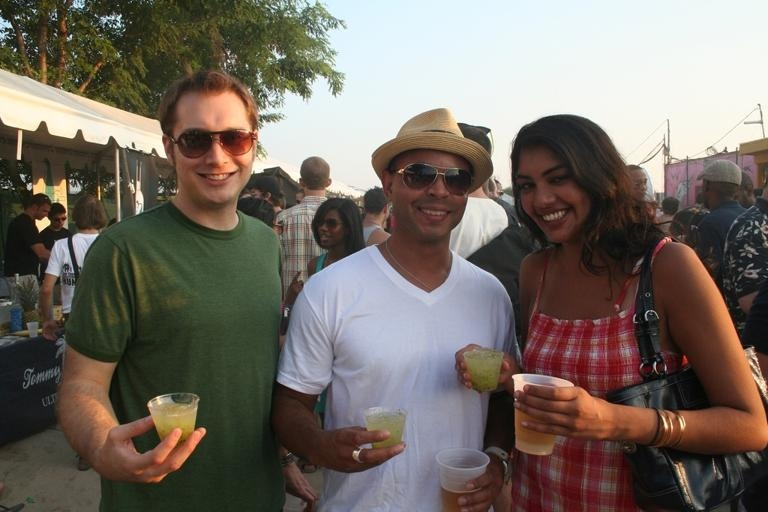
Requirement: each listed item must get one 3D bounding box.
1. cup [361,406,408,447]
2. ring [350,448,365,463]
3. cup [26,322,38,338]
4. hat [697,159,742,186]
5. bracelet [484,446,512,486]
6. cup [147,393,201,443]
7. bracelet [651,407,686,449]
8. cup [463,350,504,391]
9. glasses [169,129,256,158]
[{"bbox_3d":[0.003,0.868,2.657,0.202,0.172,0.282,0,0,-5],"label":"cup"},{"bbox_3d":[-0.133,0.968,2.581,0.053,0.070,0.027,9,1,-17],"label":"ring"},{"bbox_3d":[-3.626,0.769,5.526,0.135,0.151,0.135,0,-8,0],"label":"cup"},{"bbox_3d":[3.391,-0.816,5.354,0.286,0.202,0.386,5,12,3],"label":"hat"},{"bbox_3d":[0.624,1.132,2.879,0.101,0.144,0.195,-30,-17,-22],"label":"bracelet"},{"bbox_3d":[-0.961,0.718,2.415,0.214,0.156,0.221,-1,-9,0],"label":"cup"},{"bbox_3d":[1.384,0.840,2.564,0.093,0.179,0.166,0,20,36],"label":"bracelet"},{"bbox_3d":[0.511,0.587,2.737,0.203,0.176,0.211,-1,-6,0],"label":"cup"},{"bbox_3d":[-0.899,-0.601,2.802,0.242,0.077,0.234,-2,-3,-17],"label":"glasses"}]
